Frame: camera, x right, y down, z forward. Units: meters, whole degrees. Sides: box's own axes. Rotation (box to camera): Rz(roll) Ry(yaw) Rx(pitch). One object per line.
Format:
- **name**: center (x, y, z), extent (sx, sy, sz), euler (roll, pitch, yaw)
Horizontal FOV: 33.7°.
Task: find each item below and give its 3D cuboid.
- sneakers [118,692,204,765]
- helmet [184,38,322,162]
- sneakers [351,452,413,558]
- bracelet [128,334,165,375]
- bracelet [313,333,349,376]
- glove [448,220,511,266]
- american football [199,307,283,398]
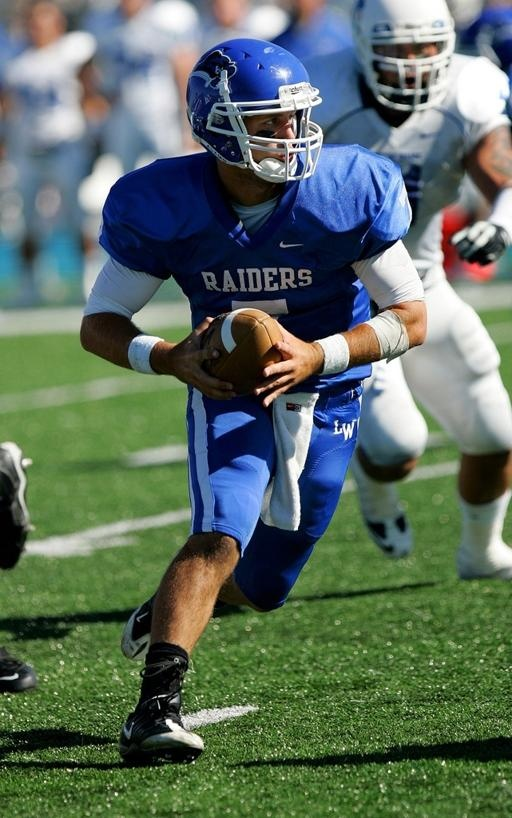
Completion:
- **sneakers**: center (-0.174, 0.494, 1.300), extent (0.069, 0.103, 0.190), euler (19, -26, -30)
- **helmet**: center (-0.005, -0.559, 1.570), extent (0.234, 0.222, 0.253), euler (-2, 29, -2)
- **sneakers**: center (0.407, 0.338, 2.724), extent (0.139, 0.372, 0.156), euler (-16, 6, 10)
- **bracelet**: center (-0.209, -0.107, 1.636), extent (0.082, 0.049, 0.076), euler (9, 5, 0)
- **bracelet**: center (0.136, -0.101, 1.578), extent (0.065, 0.069, 0.054), euler (6, 11, 23)
- **glove**: center (0.617, -0.442, 2.292), extent (0.197, 0.128, 0.109), euler (-9, 30, -15)
- **american football**: center (-0.028, -0.109, 1.613), extent (0.130, 0.133, 0.166), euler (35, -2, -13)
